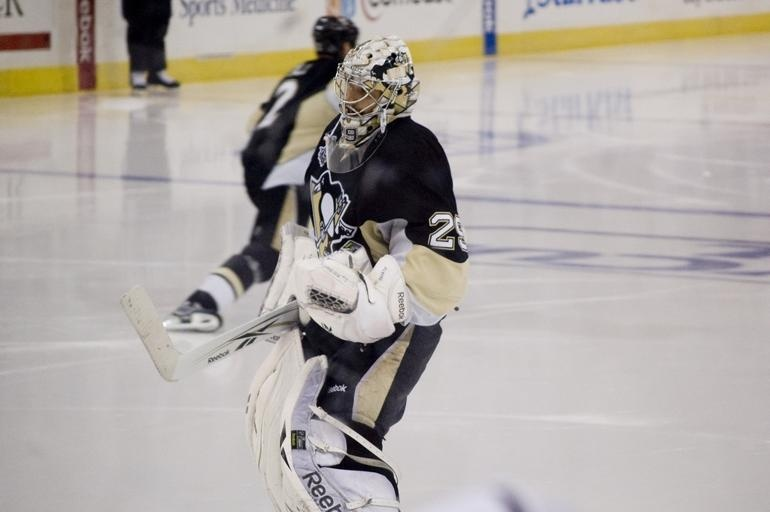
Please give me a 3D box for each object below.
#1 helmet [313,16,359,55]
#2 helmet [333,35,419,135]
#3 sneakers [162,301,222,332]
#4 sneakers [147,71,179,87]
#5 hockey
[{"bbox_3d":[-0.238,-0.985,5.187,0.211,0.173,0.160,-8,12,-10],"label":"helmet"},{"bbox_3d":[-0.031,-0.611,4.267,0.352,0.316,0.288,-20,23,-37],"label":"helmet"},{"bbox_3d":[-0.903,0.288,5.368,0.342,0.132,0.106,4,7,-4],"label":"sneakers"},{"bbox_3d":[-1.037,-0.810,5.352,0.171,0.065,0.061,0,16,6],"label":"sneakers"},{"bbox_3d":[-0.639,0.276,4.211,0.460,0.116,0.429,-30,51,-10],"label":"hockey"}]
